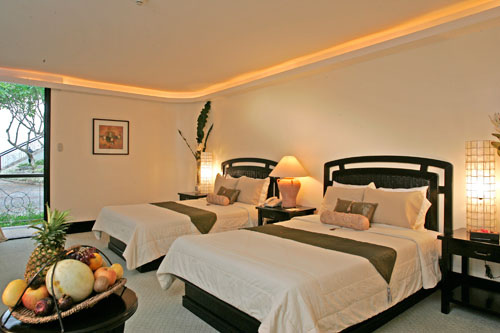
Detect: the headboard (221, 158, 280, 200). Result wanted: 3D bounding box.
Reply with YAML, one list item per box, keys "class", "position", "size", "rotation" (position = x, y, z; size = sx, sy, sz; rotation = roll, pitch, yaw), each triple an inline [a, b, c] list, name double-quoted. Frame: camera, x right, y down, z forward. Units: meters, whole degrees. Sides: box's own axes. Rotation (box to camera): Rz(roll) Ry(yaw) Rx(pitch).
- class: "headboard"
  position: [-0.036, 0.350, 6.742]
  size: [1.763, 1.068, 0.035]
  rotation: [1, 1, 36]

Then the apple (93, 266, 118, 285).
- class: "apple"
  position: [-1.128, 0.824, 2.550]
  size: [0.131, 0.127, 0.128]
  rotation: [16, 5, 8]

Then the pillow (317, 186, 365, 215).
- class: "pillow"
  position: [1.474, 0.512, 4.985]
  size: [0.406, 0.390, 0.762]
  rotation: [4, 1, -28]

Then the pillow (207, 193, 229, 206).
- class: "pillow"
  position: [-0.562, 0.617, 6.081]
  size: [0.496, 0.160, 0.133]
  rotation: [12, -23, 49]

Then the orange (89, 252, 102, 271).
- class: "orange"
  position: [-1.222, 0.741, 2.585]
  size: [0.106, 0.106, 0.107]
  rotation: [9, 13, 30]

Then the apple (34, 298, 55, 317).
- class: "apple"
  position: [-1.478, 1.009, 2.361]
  size: [0.102, 0.105, 0.137]
  rotation: [4, 5, -3]
